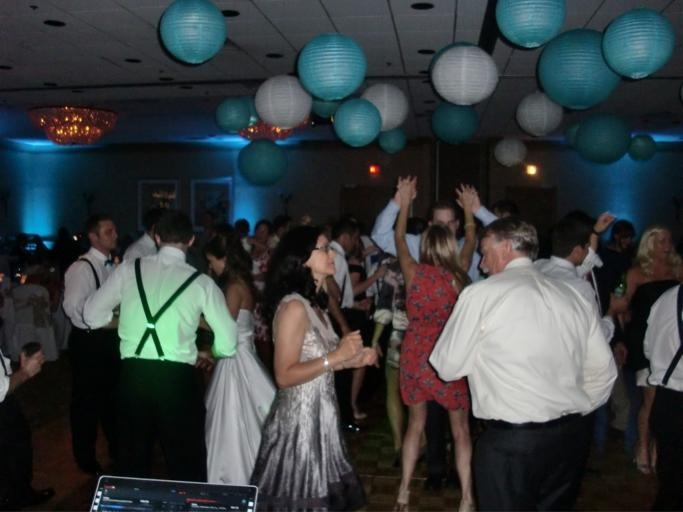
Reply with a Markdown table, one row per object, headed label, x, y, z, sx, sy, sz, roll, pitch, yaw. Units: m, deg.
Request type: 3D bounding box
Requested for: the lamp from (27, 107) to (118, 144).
| label | x | y | z | sx | sy | sz | roll | pitch | yaw |
| --- | --- | --- | --- | --- | --- | --- | --- | --- | --- |
| lamp | -4.201 | -1.995 | 8.787 | 1.250 | 0.530 | 1.352 | 1 | 6 | 25 |
